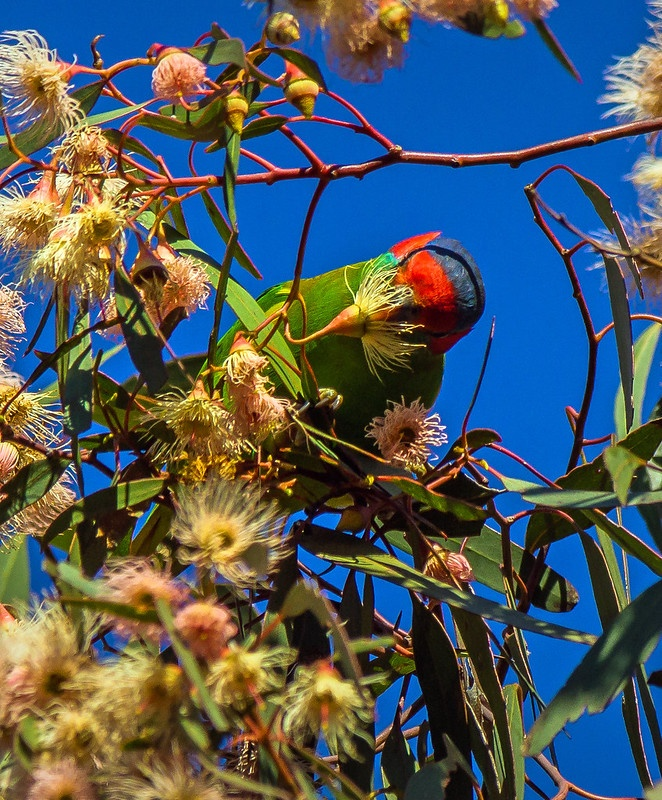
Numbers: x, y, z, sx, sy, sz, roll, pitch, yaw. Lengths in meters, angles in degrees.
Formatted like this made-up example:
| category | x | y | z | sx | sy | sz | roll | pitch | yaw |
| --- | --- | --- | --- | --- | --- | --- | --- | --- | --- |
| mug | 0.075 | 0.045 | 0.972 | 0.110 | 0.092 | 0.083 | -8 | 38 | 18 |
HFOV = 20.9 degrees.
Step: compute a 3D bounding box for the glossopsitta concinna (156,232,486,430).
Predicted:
| category | x | y | z | sx | sy | sz | roll | pitch | yaw |
| --- | --- | --- | --- | --- | --- | --- | --- | --- | --- |
| glossopsitta concinna | -0.008 | -0.042 | 1.565 | 0.140 | 0.196 | 0.237 | 22 | -15 | -40 |
